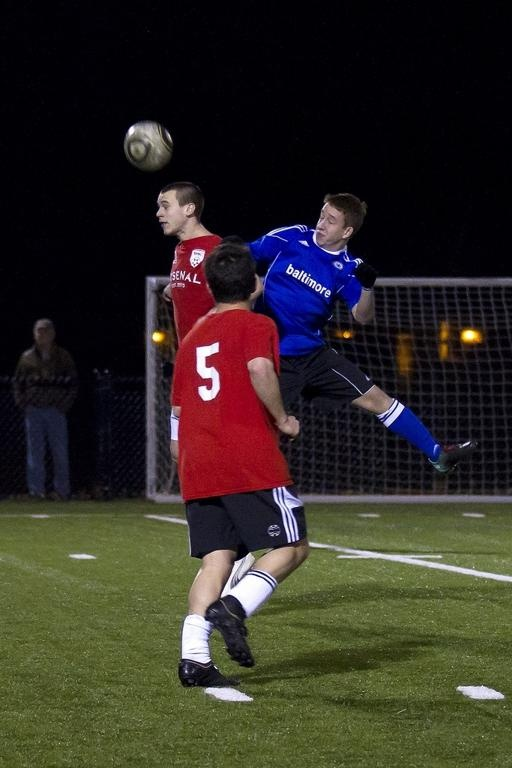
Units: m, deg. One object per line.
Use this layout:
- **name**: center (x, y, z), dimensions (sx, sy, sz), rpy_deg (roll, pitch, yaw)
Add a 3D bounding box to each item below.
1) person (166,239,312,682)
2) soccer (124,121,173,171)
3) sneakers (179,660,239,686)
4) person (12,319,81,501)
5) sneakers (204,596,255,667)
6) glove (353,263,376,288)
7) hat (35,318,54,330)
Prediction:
- **person**: center (-0.034, 0.221, 2.689), dimensions (0.433, 1.321, 0.444), rpy_deg (0, -5, -5)
- **soccer**: center (-0.653, -1.465, 5.388), dimensions (0.276, 0.337, 0.266), rpy_deg (0, -4, -9)
- **sneakers**: center (-0.146, 0.815, 2.497), dimensions (0.191, 0.080, 0.065), rpy_deg (8, -11, -20)
- **person**: center (-1.980, 0.255, 8.305), dimensions (0.572, 1.678, 0.445), rpy_deg (1, -5, -14)
- **sneakers**: center (-0.068, 0.697, 2.477), dimensions (0.132, 0.191, 0.110), rpy_deg (1, -5, -19)
- **glove**: center (0.530, -0.521, 4.278), dimensions (0.100, 0.123, 0.177), rpy_deg (-1, -4, 6)
- **hat**: center (-1.984, -0.557, 8.341), dimensions (0.138, 0.119, 0.257), rpy_deg (0, -4, 1)
